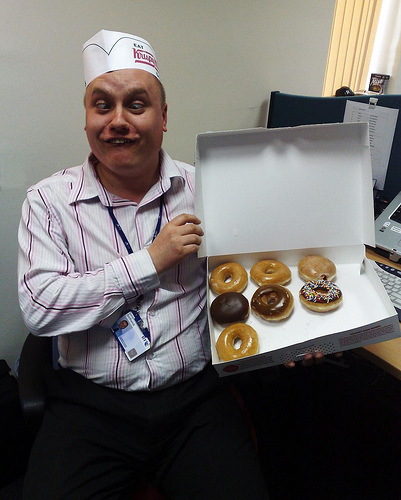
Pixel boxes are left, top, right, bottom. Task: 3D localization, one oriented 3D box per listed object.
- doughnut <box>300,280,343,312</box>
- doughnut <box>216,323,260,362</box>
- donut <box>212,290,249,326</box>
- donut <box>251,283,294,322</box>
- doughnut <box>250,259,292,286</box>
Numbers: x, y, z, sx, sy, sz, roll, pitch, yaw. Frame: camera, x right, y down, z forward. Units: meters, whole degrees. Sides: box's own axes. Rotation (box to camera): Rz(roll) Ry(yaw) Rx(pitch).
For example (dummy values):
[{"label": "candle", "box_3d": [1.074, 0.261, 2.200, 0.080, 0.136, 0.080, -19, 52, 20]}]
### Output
[{"label": "doughnut", "box_3d": [0.327, 0.129, 1.096, 0.103, 0.056, 0.092, 22, 39, 34]}, {"label": "doughnut", "box_3d": [0.095, 0.237, 1.021, 0.107, 0.045, 0.126, 8, 33, 16]}, {"label": "donut", "box_3d": [0.074, 0.154, 1.106, 0.099, 0.054, 0.113, -17, 34, -22]}, {"label": "donut", "box_3d": [0.198, 0.142, 1.111, 0.113, 0.077, 0.143, 8, 33, 17]}, {"label": "doughnut", "box_3d": [0.209, 0.072, 1.222, 0.116, 0.055, 0.130, -5, 32, -4]}]
